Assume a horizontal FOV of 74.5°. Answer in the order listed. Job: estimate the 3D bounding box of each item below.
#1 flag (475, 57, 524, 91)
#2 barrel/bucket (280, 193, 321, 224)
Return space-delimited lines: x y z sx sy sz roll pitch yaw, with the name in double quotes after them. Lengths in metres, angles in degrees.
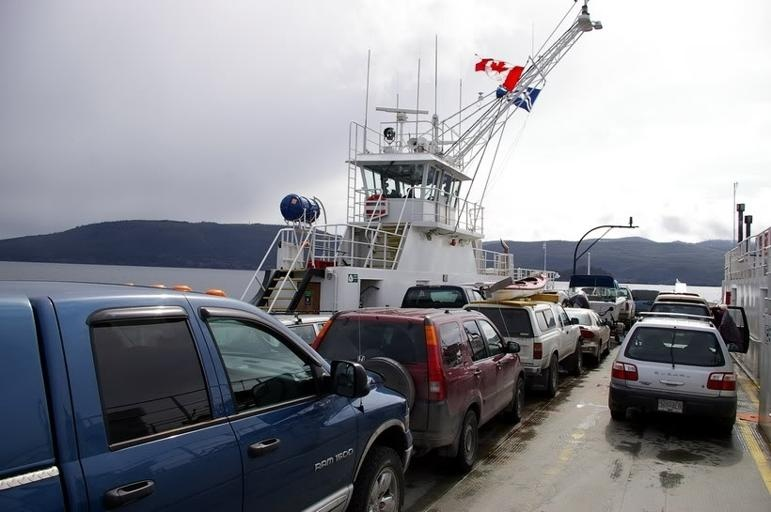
5.171 -8.272 22.451 2.119 0.692 2.769 7 8 -6 "flag"
-2.827 -1.625 17.342 1.172 0.937 1.109 1 0 0 "barrel/bucket"
